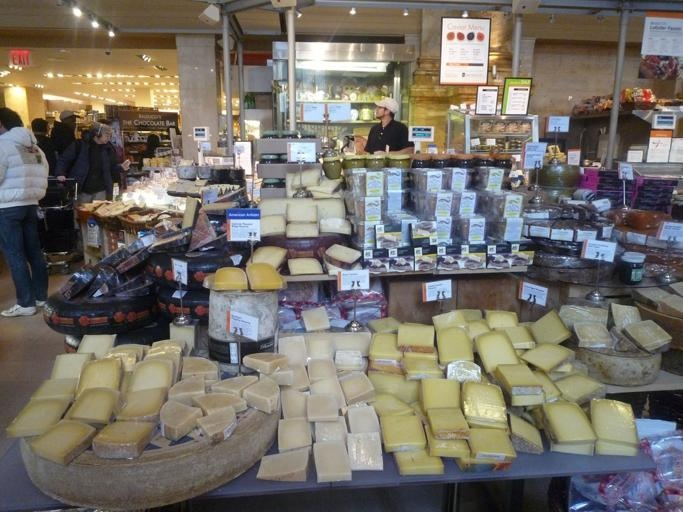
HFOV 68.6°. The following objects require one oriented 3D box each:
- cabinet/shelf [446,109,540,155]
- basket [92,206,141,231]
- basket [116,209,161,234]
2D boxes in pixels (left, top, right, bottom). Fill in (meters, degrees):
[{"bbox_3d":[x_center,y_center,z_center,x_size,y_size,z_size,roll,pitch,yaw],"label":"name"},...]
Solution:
[{"bbox_3d":[1.606,-1.338,5.369,0.815,0.453,0.922,-1,15,-2],"label":"cabinet/shelf"},{"bbox_3d":[-2.214,-0.372,4.922,0.395,0.110,0.363,-9,24,-33],"label":"basket"},{"bbox_3d":[-1.911,-0.331,4.828,0.358,0.209,0.570,-10,17,-32],"label":"basket"}]
